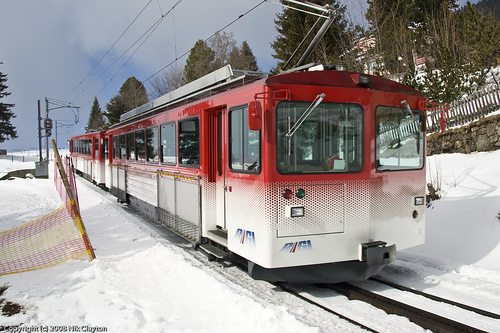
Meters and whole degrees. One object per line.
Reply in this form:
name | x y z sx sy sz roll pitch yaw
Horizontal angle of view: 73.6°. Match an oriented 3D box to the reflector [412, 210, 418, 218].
reflector | 3.573 1.032 7.261 0.029 0.142 0.135 5 -21 10
